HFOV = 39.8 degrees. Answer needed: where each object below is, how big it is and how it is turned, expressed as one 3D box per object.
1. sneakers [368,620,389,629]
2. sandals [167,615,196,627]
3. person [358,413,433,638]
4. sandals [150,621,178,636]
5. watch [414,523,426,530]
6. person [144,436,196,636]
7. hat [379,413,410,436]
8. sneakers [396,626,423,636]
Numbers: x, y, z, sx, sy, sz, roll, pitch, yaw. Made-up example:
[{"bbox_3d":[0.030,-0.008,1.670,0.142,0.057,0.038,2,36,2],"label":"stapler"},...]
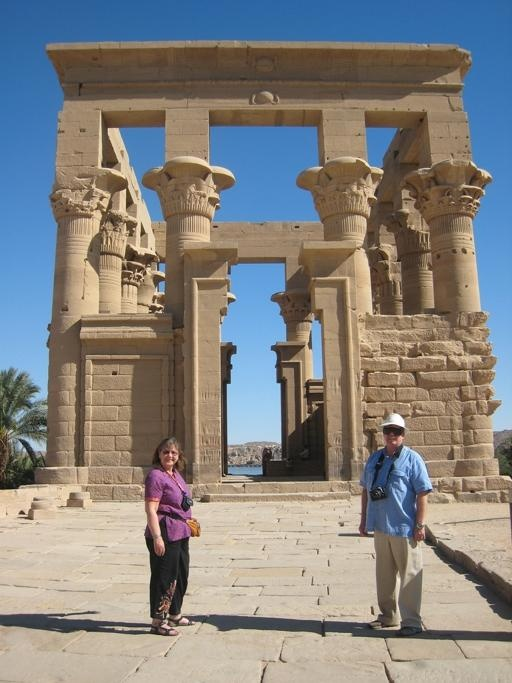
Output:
[{"bbox_3d":[0.793,1.841,4.589,0.119,0.048,0.047,-11,-27,40],"label":"sneakers"},{"bbox_3d":[-0.501,1.870,4.726,0.171,0.059,0.071,1,-6,-4],"label":"sandals"},{"bbox_3d":[0.911,1.185,4.748,0.395,1.381,0.513,4,-9,-38],"label":"person"},{"bbox_3d":[-0.586,1.827,4.506,0.155,0.057,0.075,1,-1,12],"label":"sandals"},{"bbox_3d":[1.075,1.209,4.607,0.045,0.038,0.036,2,-2,-5],"label":"watch"},{"bbox_3d":[-0.569,1.275,4.717,0.386,1.242,0.385,2,-8,-23],"label":"person"},{"bbox_3d":[0.962,0.545,4.942,0.210,0.101,0.236,2,-19,6],"label":"hat"},{"bbox_3d":[0.953,1.807,4.396,0.140,0.049,0.054,9,-15,-14],"label":"sneakers"}]
